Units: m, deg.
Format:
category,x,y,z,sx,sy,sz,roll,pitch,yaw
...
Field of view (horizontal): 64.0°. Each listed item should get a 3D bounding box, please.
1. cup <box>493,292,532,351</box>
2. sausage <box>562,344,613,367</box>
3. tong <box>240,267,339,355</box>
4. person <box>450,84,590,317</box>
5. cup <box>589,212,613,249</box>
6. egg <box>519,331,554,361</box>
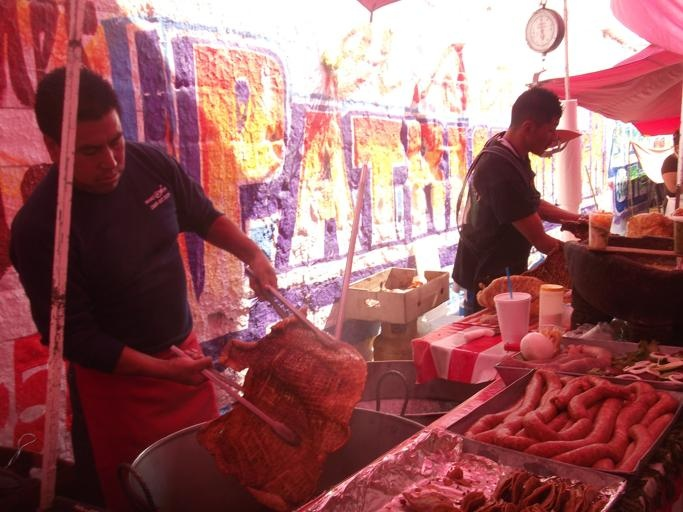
category,x,y,z,sx,sy,sz,roll,pitch,yaw
cup,0.804,0.287,2.530,0.211,0.292,0.222,-3,6,0
sausage,0.998,0.398,2.195,0.168,0.043,0.215,0,8,23
tong,-0.167,0.225,2.107,0.160,0.166,0.483,-6,8,-21
person,1.182,-0.407,3.690,0.672,1.860,0.668,4,9,35
cup,1.148,-0.115,2.411,0.084,0.148,0.154,1,8,27
egg,0.801,0.373,2.223,0.131,0.106,0.105,0,8,18
